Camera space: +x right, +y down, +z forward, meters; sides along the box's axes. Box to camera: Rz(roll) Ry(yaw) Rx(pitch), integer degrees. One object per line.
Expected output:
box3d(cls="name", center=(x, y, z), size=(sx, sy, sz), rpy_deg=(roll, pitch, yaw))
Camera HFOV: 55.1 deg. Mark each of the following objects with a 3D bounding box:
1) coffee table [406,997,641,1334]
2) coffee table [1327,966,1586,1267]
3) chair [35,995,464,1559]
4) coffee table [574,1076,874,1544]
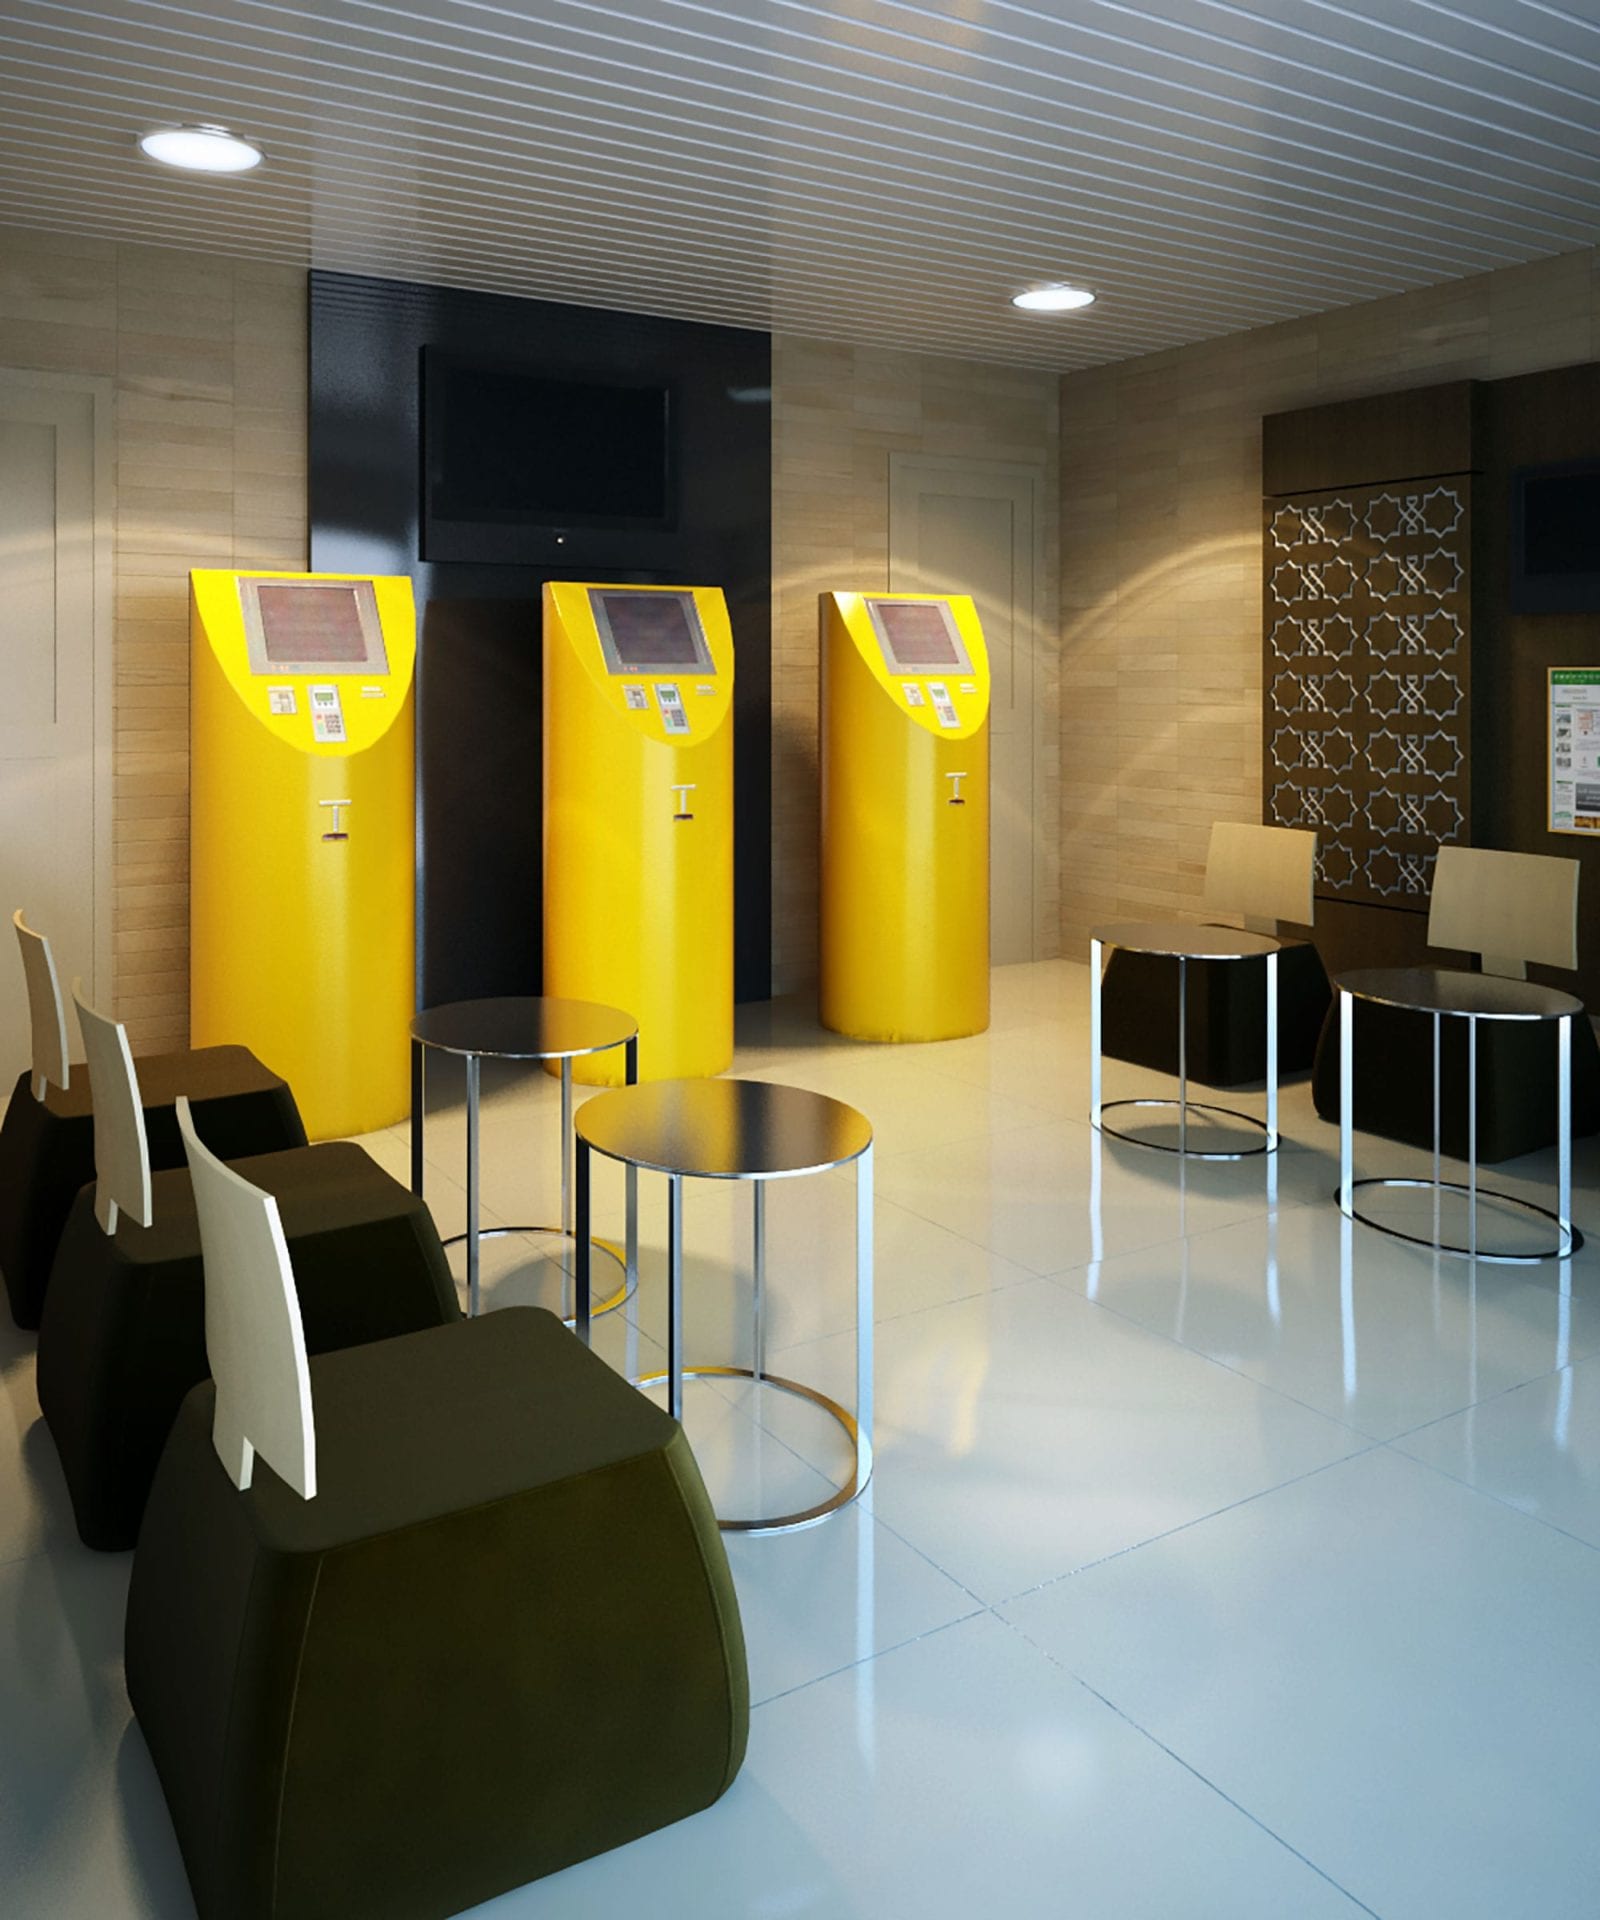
box3d(cls="coffee table", center=(-0.674, 0.442, 3.570), size=(0.330, 0.480, 0.377), rpy_deg=(-3, -8, 1))
box3d(cls="coffee table", center=(1.729, 0.349, 4.044), size=(0.592, 0.623, 1.000), rpy_deg=(3, 9, 21))
box3d(cls="chair", center=(-0.927, 0.565, 2.792), size=(0.782, 1.108, 0.609), rpy_deg=(-8, 15, -36))
box3d(cls="coffee table", center=(-0.088, 0.497, 2.831), size=(0.588, 0.814, 0.593), rpy_deg=(-5, 9, -37))
